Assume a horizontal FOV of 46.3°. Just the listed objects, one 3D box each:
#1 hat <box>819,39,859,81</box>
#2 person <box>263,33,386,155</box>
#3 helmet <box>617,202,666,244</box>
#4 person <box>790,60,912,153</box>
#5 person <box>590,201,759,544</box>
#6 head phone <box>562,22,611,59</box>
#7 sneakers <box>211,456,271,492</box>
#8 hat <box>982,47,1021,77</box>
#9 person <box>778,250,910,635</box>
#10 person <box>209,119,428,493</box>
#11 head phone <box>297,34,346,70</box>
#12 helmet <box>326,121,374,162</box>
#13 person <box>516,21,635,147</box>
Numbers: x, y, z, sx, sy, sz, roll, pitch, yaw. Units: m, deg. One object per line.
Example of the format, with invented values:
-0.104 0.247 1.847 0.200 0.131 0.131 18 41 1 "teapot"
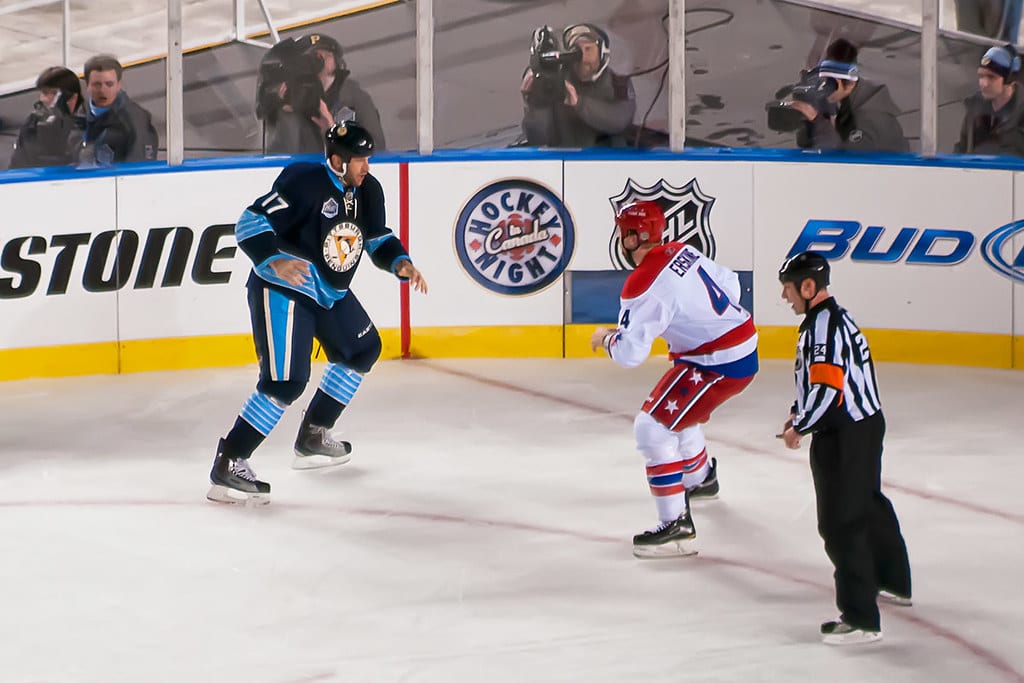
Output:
2.600 -2.259 9.620 0.317 0.321 0.209 0 9 7 "hat"
-1.680 -2.020 9.831 0.869 1.045 0.468 -1 -3 -6 "person"
0.685 -0.634 6.342 0.249 0.217 0.195 22 26 40 "helmet"
2.802 -1.894 9.888 0.907 0.673 0.252 -3 9 -11 "person"
0.866 0.154 6.328 0.577 1.771 0.964 5 11 35 "person"
0.638 -2.496 9.839 0.289 0.317 0.169 -1 17 8 "head phone"
-1.531 0.748 6.766 0.311 0.231 0.100 -3 9 -14 "sneakers"
3.922 -2.245 9.693 0.240 0.276 0.236 13 -24 11 "hat"
1.503 0.476 5.453 0.586 1.717 0.428 2 10 21 "person"
-1.206 -0.214 7.001 1.326 2.107 0.563 -7 11 -34 "person"
-1.553 -2.402 9.914 0.275 0.304 0.254 -44 11 0 "head phone"
-0.922 -1.150 6.814 0.264 0.219 0.203 -10 22 -18 "helmet"
0.546 -2.104 9.890 0.923 0.961 0.214 -1 9 -1 "person"
